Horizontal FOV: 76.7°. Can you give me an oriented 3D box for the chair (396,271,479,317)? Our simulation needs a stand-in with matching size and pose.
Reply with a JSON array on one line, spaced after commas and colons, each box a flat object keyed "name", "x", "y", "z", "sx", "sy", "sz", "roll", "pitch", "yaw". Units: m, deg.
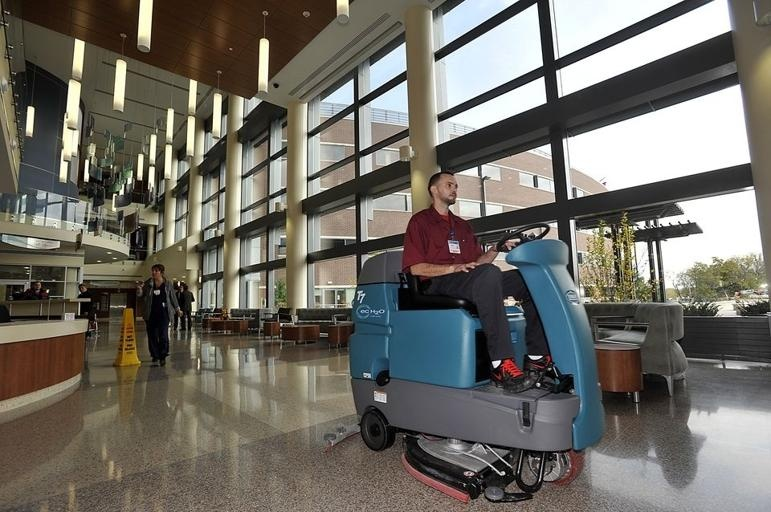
[{"name": "chair", "x": 0.490, "y": 0.399, "z": 5.426, "sx": 0.655, "sy": 0.382, "sz": 0.492, "roll": 0, "pitch": -3, "yaw": 20}]

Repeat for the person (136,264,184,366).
[{"name": "person", "x": -4.502, "y": 1.200, "z": 9.750, "sx": 0.711, "sy": 2.149, "sz": 0.997, "roll": -7, "pitch": 12, "yaw": -27}]

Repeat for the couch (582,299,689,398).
[{"name": "couch", "x": 4.136, "y": 1.374, "z": 7.853, "sx": 1.101, "sy": 1.045, "sz": 2.168, "roll": -2, "pitch": -7, "yaw": -2}]

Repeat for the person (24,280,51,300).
[{"name": "person", "x": -11.427, "y": 1.152, "z": 15.923, "sx": 0.990, "sy": 0.452, "sz": 1.353, "roll": 4, "pitch": -9, "yaw": -27}]

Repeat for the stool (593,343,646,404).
[{"name": "stool", "x": 3.204, "y": 1.698, "z": 6.911, "sx": 0.673, "sy": 0.807, "sz": 0.744, "roll": 20, "pitch": -21, "yaw": -36}]
